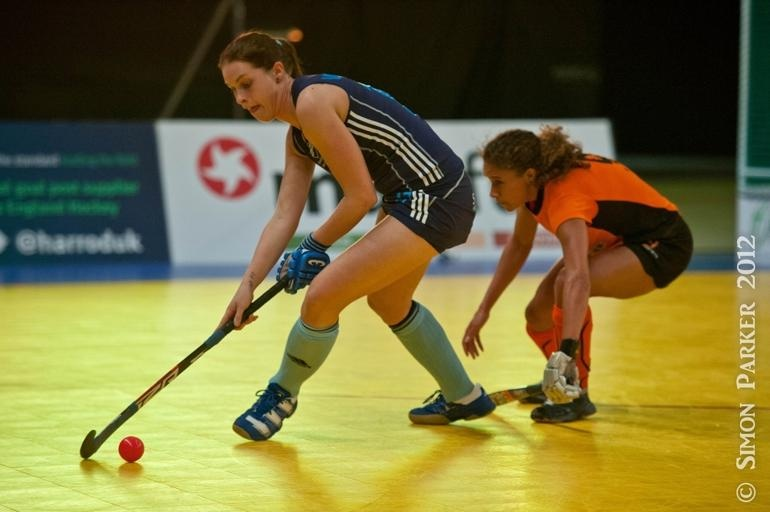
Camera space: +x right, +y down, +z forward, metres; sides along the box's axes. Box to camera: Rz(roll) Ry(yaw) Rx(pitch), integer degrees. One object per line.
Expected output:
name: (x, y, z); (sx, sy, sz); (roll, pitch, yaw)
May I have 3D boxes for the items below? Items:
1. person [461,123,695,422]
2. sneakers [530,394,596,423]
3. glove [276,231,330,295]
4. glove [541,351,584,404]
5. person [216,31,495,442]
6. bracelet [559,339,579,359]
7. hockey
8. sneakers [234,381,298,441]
person: (1.127, 0.121, 4.964); (1.254, 1.567, 1.061); (-6, 14, -22)
sneakers: (0.967, 0.852, 4.900); (0.347, 0.167, 0.141); (-1, -2, -19)
glove: (-0.426, 0.033, 4.558); (0.236, 0.305, 0.130); (44, 3, -30)
glove: (0.868, 0.608, 4.391); (0.169, 0.245, 0.127); (3, 13, 10)
person: (-0.165, -0.098, 4.581); (1.335, 2.042, 0.550); (-3, 13, -12)
bracelet: (0.904, 0.480, 4.473); (0.096, 0.100, 0.088); (21, -10, -1)
hockey: (-1.207, 0.692, 5.382); (1.315, 0.146, 0.153); (-38, -2, -21)
sneakers: (-0.598, 0.811, 4.616); (0.169, 0.192, 0.414); (33, 38, 12)
